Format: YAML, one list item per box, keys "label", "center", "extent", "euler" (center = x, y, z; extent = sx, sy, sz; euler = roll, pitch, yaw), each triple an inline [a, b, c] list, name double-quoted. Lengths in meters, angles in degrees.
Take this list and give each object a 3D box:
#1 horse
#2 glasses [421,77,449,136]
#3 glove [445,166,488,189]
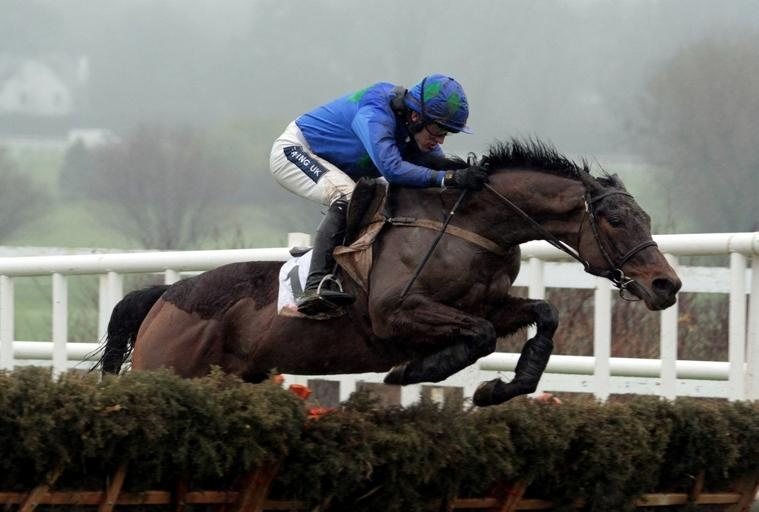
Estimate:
- label: "horse"
  center: [0.006, 0.336, 12.054]
  extent: [4.510, 1.783, 1.005]
  euler: [-9, -4, 32]
- label: "glasses"
  center: [0.395, -0.999, 11.623]
  extent: [0.190, 0.378, 0.134]
  euler: [-1, 1, -17]
- label: "glove"
  center: [0.593, -0.513, 11.515]
  extent: [0.278, 0.156, 0.065]
  euler: [0, 1, 2]
